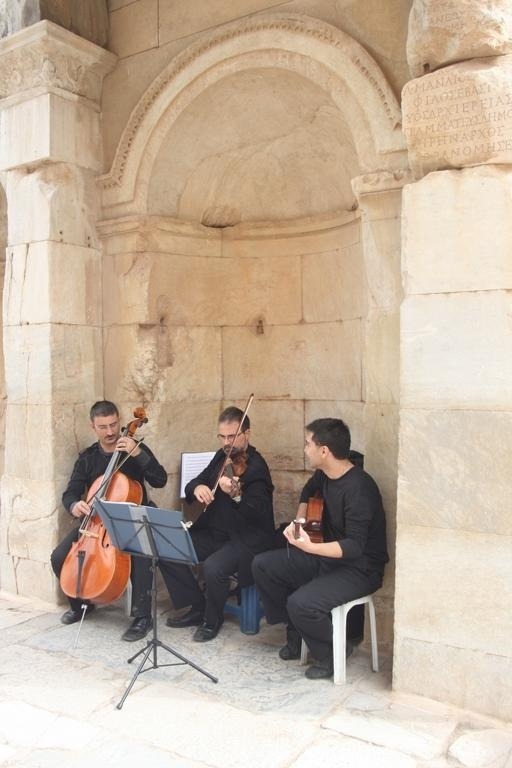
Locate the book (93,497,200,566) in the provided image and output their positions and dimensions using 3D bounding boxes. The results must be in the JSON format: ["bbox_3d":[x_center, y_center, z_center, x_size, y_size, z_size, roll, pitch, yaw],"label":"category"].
[{"bbox_3d":[-0.514,0.678,3.702,0.570,0.465,0.097,1,34,31],"label":"book"}]

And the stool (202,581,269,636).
[{"bbox_3d":[-0.112,1.152,4.239,0.259,0.259,0.213,0,0,40],"label":"stool"}]

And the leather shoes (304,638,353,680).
[{"bbox_3d":[0.284,1.246,3.704,0.307,0.216,0.109,11,-11,-20],"label":"leather shoes"}]

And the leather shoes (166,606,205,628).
[{"bbox_3d":[-0.386,1.246,4.390,0.212,0.083,0.077,3,1,-26],"label":"leather shoes"}]

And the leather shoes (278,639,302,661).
[{"bbox_3d":[0.169,1.281,3.921,0.053,0.119,0.126,-23,-49,32],"label":"leather shoes"}]

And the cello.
[{"bbox_3d":[-0.747,0.602,4.084,0.384,0.894,0.340,4,7,-7],"label":"cello"}]

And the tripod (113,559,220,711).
[{"bbox_3d":[-0.399,1.029,3.850,0.422,0.594,1.018,-1,5,-3],"label":"tripod"}]

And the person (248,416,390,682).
[{"bbox_3d":[0.326,0.753,3.891,0.543,1.251,0.534,0,0,-29],"label":"person"}]
